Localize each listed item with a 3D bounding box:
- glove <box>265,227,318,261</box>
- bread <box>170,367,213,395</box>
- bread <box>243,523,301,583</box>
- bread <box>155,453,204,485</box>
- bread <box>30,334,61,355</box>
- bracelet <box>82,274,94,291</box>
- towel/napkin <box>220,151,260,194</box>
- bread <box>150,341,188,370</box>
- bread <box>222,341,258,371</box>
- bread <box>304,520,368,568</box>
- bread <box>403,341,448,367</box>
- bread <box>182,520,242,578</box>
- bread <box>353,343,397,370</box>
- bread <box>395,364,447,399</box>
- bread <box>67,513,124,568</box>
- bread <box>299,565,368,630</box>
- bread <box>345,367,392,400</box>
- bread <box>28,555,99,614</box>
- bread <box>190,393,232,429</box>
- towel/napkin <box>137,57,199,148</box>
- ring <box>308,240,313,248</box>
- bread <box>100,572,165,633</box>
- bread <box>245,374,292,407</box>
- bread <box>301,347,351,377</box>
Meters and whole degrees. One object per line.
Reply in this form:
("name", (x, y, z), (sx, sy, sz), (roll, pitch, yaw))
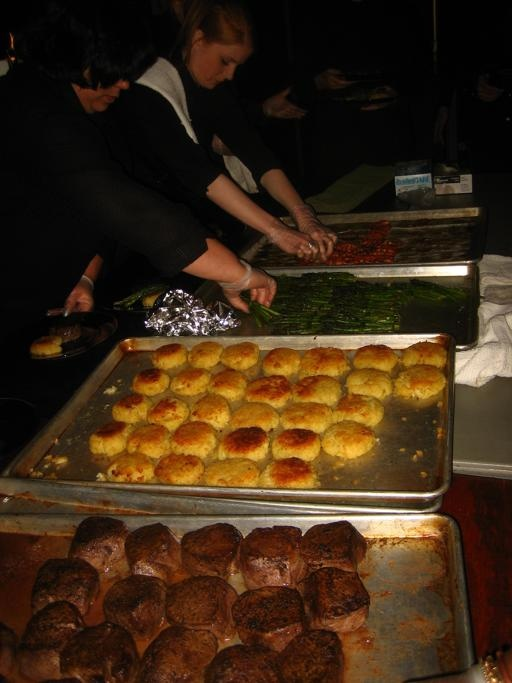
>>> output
("glove", (0.204, -0.555, 3.385), (0.282, 0.066, 0.139), (24, 59, 2))
("bread", (-0.292, 0.179, 2.607), (0.180, 0.068, 0.145), (-11, 34, 7))
("bread", (0.041, 0.583, 1.647), (0.166, 0.100, 0.157), (3, 13, 1))
("bread", (-0.273, 0.443, 2.076), (0.131, 0.032, 0.103), (5, 27, -6))
("bread", (-0.977, 0.026, 2.744), (0.131, 0.061, 0.141), (-14, 33, 3))
("bracelet", (-0.957, -0.341, 3.358), (0.026, 0.095, 0.094), (-46, 33, 11))
("towel/napkin", (-0.124, -1.294, 4.526), (0.143, 0.468, 0.044), (-49, 52, 9))
("bread", (-0.396, 0.070, 2.757), (0.122, 0.085, 0.173), (9, 41, 33))
("bread", (-0.070, 0.066, 2.670), (0.147, 0.039, 0.132), (13, 44, 16))
("bread", (0.205, 0.557, 1.608), (0.163, 0.049, 0.139), (-1, 30, 15))
("bread", (0.680, 0.061, 2.407), (0.178, 0.065, 0.159), (-6, 34, 15))
("bread", (-0.121, 0.576, 1.646), (0.168, 0.052, 0.147), (-6, 26, 13))
("bread", (0.497, 0.075, 2.479), (0.191, 0.058, 0.171), (-9, 33, 9))
("bread", (0.626, 0.165, 2.273), (0.191, 0.063, 0.160), (-3, 35, 18))
("bread", (-0.458, 0.588, 1.730), (0.168, 0.105, 0.143), (4, 35, -2))
("bread", (0.200, 0.666, 1.542), (0.166, 0.095, 0.168), (-17, 34, -1))
("bread", (0.444, 0.171, 2.357), (0.189, 0.062, 0.168), (-2, 35, 20))
("bread", (-0.535, 0.681, 1.641), (0.160, 0.054, 0.137), (6, 57, 12))
("bread", (-0.179, 0.282, 2.370), (0.144, 0.031, 0.125), (-4, 37, -16))
("towel/napkin", (-0.460, -1.233, 3.076), (0.113, 0.355, 0.380), (-14, 41, 31))
("ring", (0.308, -0.556, 3.348), (0.035, 0.012, 0.037), (10, 54, -13))
("bread", (-0.321, 0.695, 1.594), (0.151, 0.099, 0.144), (4, 21, 4))
("bread", (0.047, 0.202, 2.427), (0.144, 0.032, 0.133), (11, 36, 14))
("bread", (0.289, 0.093, 2.534), (0.206, 0.061, 0.189), (5, 38, 28))
